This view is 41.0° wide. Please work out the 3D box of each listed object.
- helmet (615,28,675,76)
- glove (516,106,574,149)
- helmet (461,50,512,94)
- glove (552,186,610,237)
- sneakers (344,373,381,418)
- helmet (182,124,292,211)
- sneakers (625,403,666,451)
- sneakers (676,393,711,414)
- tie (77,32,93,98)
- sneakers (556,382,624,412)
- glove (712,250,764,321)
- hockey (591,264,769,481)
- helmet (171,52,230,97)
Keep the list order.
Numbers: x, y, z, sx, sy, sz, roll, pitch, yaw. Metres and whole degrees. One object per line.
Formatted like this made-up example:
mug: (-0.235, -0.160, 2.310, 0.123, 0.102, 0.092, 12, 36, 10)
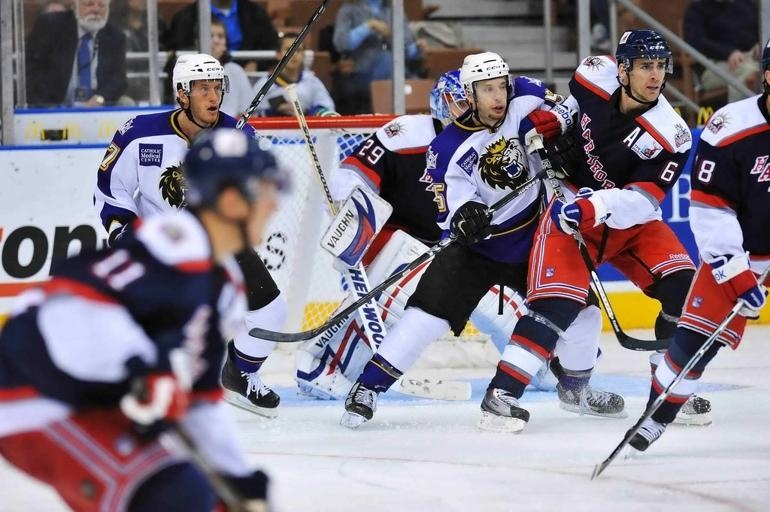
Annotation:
helmet: (1.063, -0.847, 4.323, 0.177, 0.201, 0.212, 1, -2, -28)
glove: (0.702, -0.571, 4.533, 0.247, 0.135, 0.096, -34, -17, -6)
helmet: (0.417, -0.814, 4.537, 0.170, 0.198, 0.207, -7, 2, -17)
glove: (0.807, -0.220, 4.286, 0.176, 0.096, 0.213, -9, 33, 3)
sneakers: (-0.109, 0.635, 4.467, 0.139, 0.189, 0.146, -1, 8, 5)
helmet: (-0.402, -0.230, 2.729, 0.260, 0.185, 0.182, 18, 15, -1)
sneakers: (1.016, 0.665, 4.050, 0.091, 0.123, 0.282, 48, 15, 12)
sneakers: (1.361, 0.642, 4.476, 0.092, 0.075, 0.195, 30, -19, -25)
tie: (-1.720, -1.085, 5.856, 0.096, 0.378, 0.071, -5, 9, -23)
sneakers: (0.913, 0.648, 4.604, 0.278, 0.117, 0.123, 3, 34, 18)
glove: (1.368, 0.116, 4.045, 0.167, 0.270, 0.125, -41, 0, -6)
hockey: (1.264, 0.512, 4.375, 1.127, 0.085, 0.166, -38, -7, -23)
helmet: (-0.845, -0.841, 4.599, 0.224, 0.204, 0.179, -9, -5, 37)
